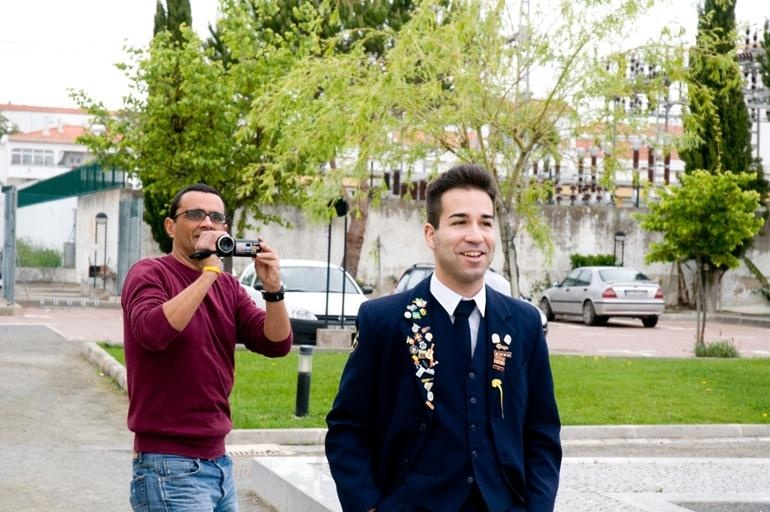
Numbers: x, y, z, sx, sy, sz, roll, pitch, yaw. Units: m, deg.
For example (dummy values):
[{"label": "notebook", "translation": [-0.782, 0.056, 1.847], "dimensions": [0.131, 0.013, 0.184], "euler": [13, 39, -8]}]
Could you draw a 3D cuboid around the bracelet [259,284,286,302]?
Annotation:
[{"label": "bracelet", "translation": [-1.348, 0.455, 13.329], "dimensions": [0.240, 0.174, 0.271], "euler": [0, 12, 2]}]

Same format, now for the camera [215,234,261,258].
[{"label": "camera", "translation": [-1.746, -0.113, 13.205], "dimensions": [0.404, 0.186, 0.270], "euler": [1, -1, -16]}]
